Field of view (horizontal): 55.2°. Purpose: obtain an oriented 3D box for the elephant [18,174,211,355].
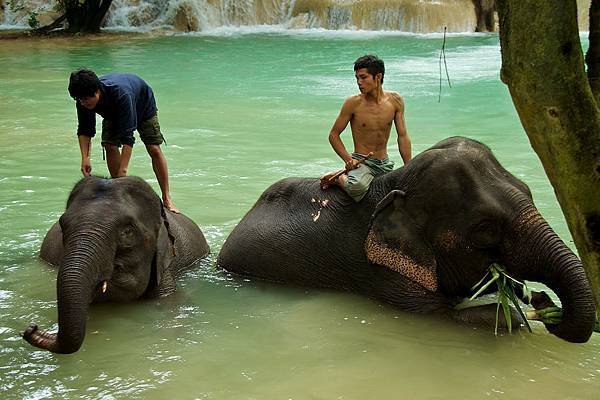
[{"bbox_3d":[-1.448,0.470,4.582,1.345,1.166,2.201,3,-1,-9],"label":"elephant"}]
